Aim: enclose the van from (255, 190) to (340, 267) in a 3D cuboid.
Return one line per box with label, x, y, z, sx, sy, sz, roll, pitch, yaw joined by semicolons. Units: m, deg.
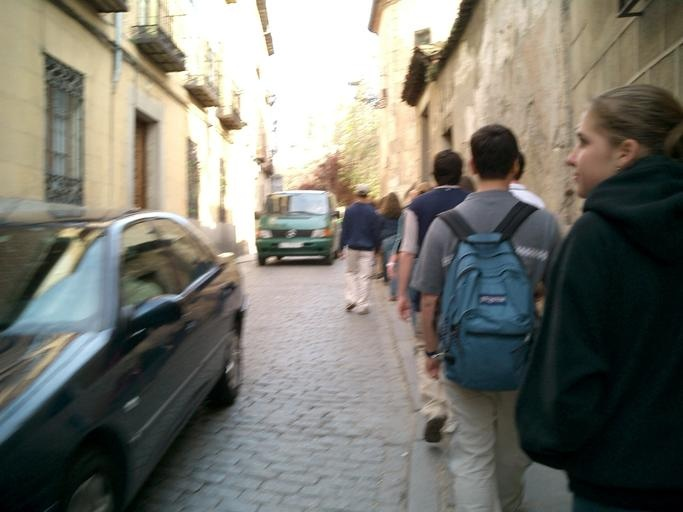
van;-1.235;-1.298;18.172;2.599;2.061;4.611;1;13;11
